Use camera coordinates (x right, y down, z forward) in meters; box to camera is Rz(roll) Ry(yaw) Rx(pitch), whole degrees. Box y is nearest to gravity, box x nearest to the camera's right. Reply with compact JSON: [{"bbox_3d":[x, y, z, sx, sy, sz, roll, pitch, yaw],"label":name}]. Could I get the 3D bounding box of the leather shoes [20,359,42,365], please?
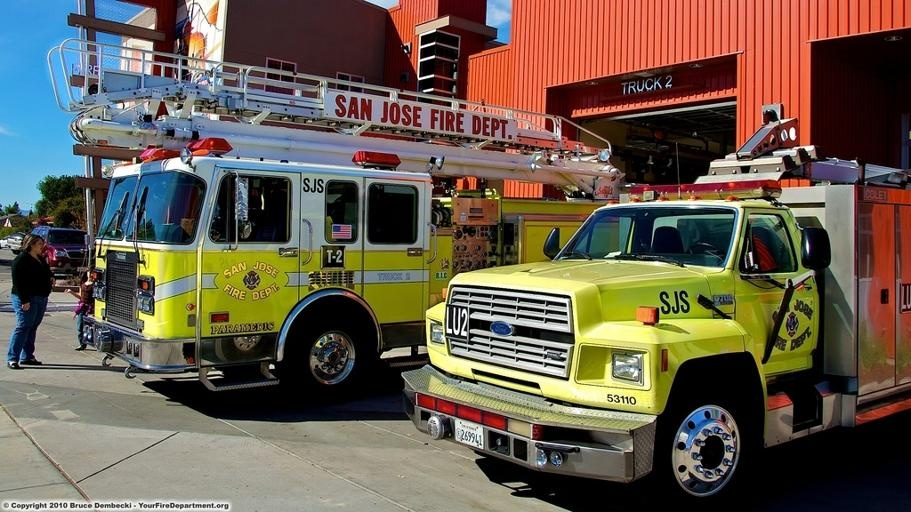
[{"bbox_3d":[-8.209,2.057,14.344,0.359,0.120,0.125,1,-3,-17],"label":"leather shoes"}]
